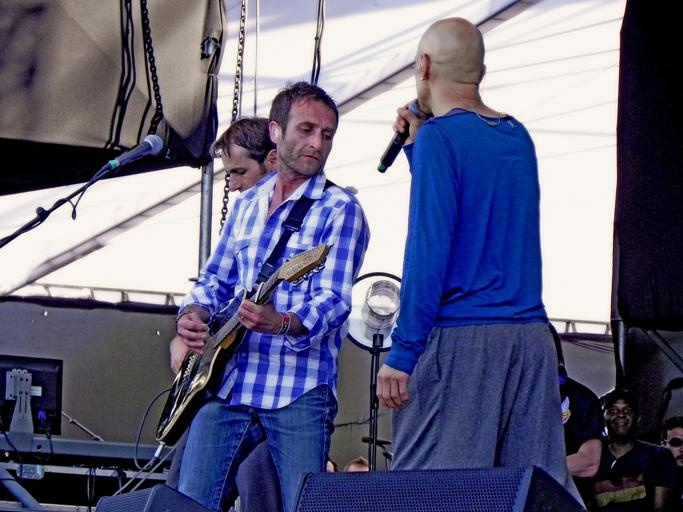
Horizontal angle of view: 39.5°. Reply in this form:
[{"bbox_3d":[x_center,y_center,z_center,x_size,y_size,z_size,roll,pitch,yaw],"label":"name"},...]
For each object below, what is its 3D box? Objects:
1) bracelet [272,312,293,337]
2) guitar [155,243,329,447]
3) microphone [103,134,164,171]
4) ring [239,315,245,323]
[{"bbox_3d":[-0.254,0.294,4.207,0.067,0.092,0.033,5,-4,-30],"label":"bracelet"},{"bbox_3d":[-0.443,0.443,4.438,0.204,0.523,1.211,26,-57,-15],"label":"guitar"},{"bbox_3d":[-1.052,-0.556,5.026,0.112,0.134,0.532,17,26,19],"label":"microphone"},{"bbox_3d":[-0.446,0.279,4.219,0.010,0.023,0.031,-28,-9,-1],"label":"ring"}]
